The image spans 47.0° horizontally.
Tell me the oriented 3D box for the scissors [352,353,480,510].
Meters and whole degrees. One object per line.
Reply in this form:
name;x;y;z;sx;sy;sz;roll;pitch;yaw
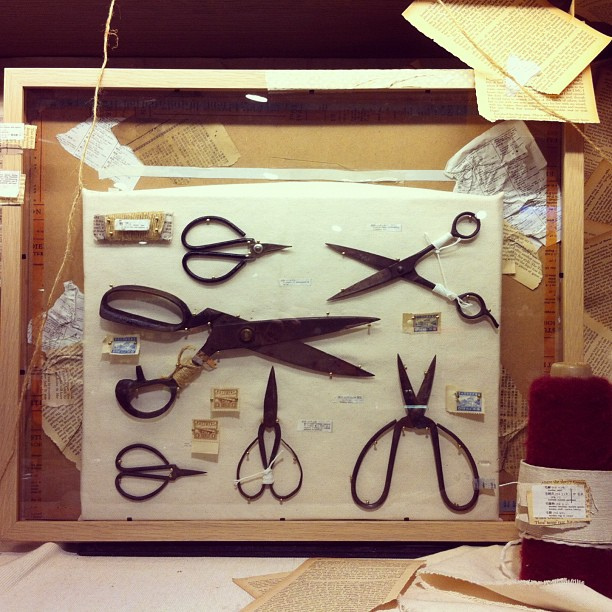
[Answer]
scissors;0.234;0.293;1.614;0.287;0.359;0.061;-5;8;1

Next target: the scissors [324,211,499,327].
scissors;0.238;-0.079;1.628;0.505;0.240;0.036;-1;-28;-42

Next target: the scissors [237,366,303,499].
scissors;-0.094;0.294;1.610;0.150;0.296;0.050;-6;8;-4

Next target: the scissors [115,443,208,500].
scissors;-0.346;0.385;1.631;0.029;0.130;0.248;-22;-23;39
